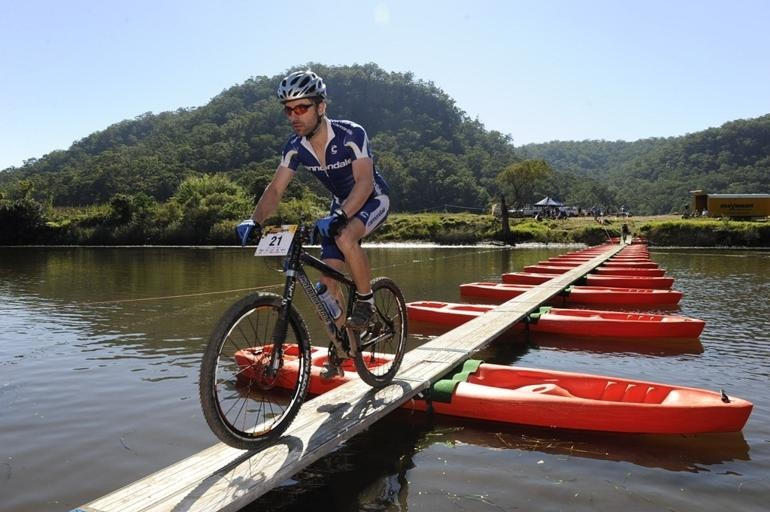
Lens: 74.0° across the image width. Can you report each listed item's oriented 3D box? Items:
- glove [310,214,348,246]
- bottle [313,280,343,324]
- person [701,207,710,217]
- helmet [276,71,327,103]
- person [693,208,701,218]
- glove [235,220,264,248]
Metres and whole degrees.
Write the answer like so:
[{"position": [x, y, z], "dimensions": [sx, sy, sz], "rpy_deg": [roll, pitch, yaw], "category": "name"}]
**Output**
[{"position": [-0.578, -0.279, 4.932], "dimensions": [0.324, 0.270, 0.535], "rpy_deg": [-2, 4, -25], "category": "glove"}, {"position": [-0.507, 0.461, 5.047], "dimensions": [0.162, 0.473, 0.199], "rpy_deg": [-37, 24, -8], "category": "bottle"}, {"position": [33.103, -4.588, 53.159], "dimensions": [1.419, 0.810, 0.663], "rpy_deg": [-15, 17, -29], "category": "person"}, {"position": [-0.831, -1.721, 5.172], "dimensions": [0.442, 0.298, 0.627], "rpy_deg": [-3, 15, 27], "category": "helmet"}, {"position": [33.142, -4.627, 54.783], "dimensions": [0.508, 0.780, 2.820], "rpy_deg": [1, 4, 28], "category": "person"}, {"position": [-1.284, -0.222, 4.827], "dimensions": [0.217, 0.239, 0.345], "rpy_deg": [-2, 3, -22], "category": "glove"}]
